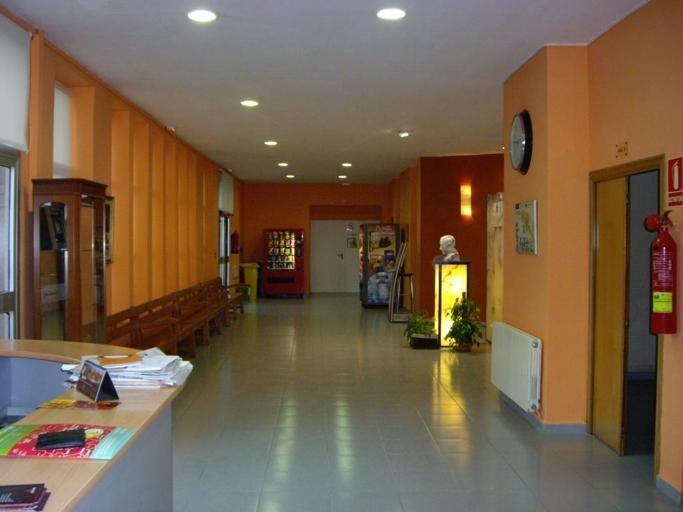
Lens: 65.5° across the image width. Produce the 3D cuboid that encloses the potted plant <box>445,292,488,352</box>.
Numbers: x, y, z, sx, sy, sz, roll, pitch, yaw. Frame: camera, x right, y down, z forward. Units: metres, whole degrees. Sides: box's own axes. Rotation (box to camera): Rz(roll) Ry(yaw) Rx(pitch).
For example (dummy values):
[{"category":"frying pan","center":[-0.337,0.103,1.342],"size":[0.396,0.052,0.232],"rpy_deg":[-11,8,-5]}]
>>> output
[{"category":"potted plant","center":[2.038,1.085,8.767],"size":[0.486,0.905,0.537],"rpy_deg":[-2,-9,37]}]

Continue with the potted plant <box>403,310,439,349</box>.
[{"category":"potted plant","center":[1.336,1.328,9.277],"size":[0.640,0.668,0.805],"rpy_deg":[-2,-2,0]}]

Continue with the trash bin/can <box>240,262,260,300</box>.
[{"category":"trash bin/can","center":[-2.734,0.665,15.681],"size":[0.638,1.049,0.656],"rpy_deg":[-9,10,-38]}]

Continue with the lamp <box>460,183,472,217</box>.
[{"category":"lamp","center":[2.651,-1.167,11.345],"size":[0.285,0.698,0.080],"rpy_deg":[3,7,7]}]

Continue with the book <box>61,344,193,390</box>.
[{"category":"book","center":[-1.451,0.759,3.583],"size":[0.790,0.206,0.478],"rpy_deg":[5,9,9]}]

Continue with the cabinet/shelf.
[{"category":"cabinet/shelf","center":[-2.729,0.079,5.300],"size":[0.681,1.686,0.560],"rpy_deg":[-2,9,-32]}]
